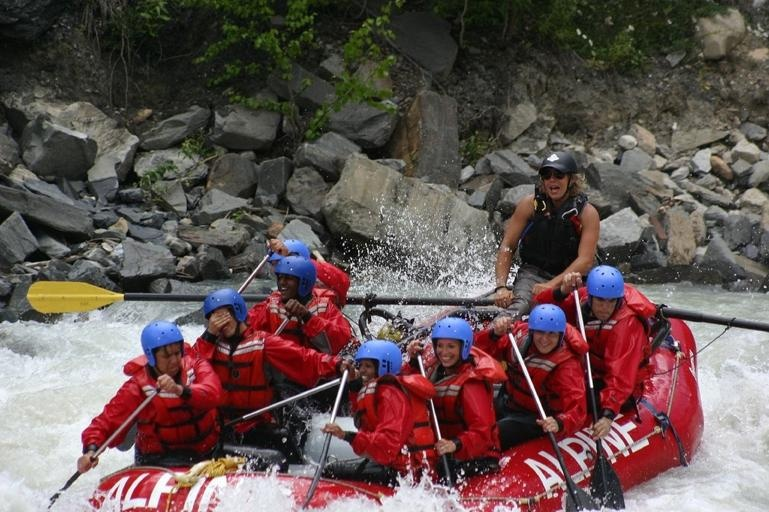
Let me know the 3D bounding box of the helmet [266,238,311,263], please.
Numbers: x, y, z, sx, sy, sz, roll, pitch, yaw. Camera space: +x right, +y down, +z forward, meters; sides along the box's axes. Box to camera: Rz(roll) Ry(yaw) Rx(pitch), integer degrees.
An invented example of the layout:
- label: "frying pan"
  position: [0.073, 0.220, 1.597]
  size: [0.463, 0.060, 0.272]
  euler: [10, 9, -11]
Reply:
- label: "helmet"
  position: [-1.301, -0.100, 11.660]
  size: [0.437, 0.396, 0.329]
  euler: [-11, 7, -25]

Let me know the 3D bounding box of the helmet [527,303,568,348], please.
- label: "helmet"
  position: [1.926, 0.768, 10.128]
  size: [0.313, 0.385, 0.443]
  euler: [2, -6, 6]

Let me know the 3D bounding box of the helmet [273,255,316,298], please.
- label: "helmet"
  position: [-1.114, 0.270, 10.899]
  size: [0.515, 0.545, 0.419]
  euler: [-4, 10, -28]

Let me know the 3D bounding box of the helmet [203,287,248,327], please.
- label: "helmet"
  position: [-1.956, 0.604, 10.473]
  size: [0.438, 0.382, 0.353]
  euler: [-26, 10, -25]

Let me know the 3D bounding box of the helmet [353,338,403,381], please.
- label: "helmet"
  position: [-0.045, 1.160, 9.821]
  size: [0.445, 0.423, 0.356]
  euler: [3, -9, -9]

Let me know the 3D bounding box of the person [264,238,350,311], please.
- label: "person"
  position: [-1.007, 0.212, 11.610]
  size: [0.762, 1.187, 0.823]
  euler: [-23, -2, 2]

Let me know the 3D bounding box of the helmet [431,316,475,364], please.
- label: "helmet"
  position: [0.789, 0.954, 9.966]
  size: [0.363, 0.446, 0.507]
  euler: [-11, -9, 33]

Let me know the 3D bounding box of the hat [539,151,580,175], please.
- label: "hat"
  position: [2.295, -1.239, 11.274]
  size: [0.498, 0.267, 0.221]
  euler: [3, 10, -27]
